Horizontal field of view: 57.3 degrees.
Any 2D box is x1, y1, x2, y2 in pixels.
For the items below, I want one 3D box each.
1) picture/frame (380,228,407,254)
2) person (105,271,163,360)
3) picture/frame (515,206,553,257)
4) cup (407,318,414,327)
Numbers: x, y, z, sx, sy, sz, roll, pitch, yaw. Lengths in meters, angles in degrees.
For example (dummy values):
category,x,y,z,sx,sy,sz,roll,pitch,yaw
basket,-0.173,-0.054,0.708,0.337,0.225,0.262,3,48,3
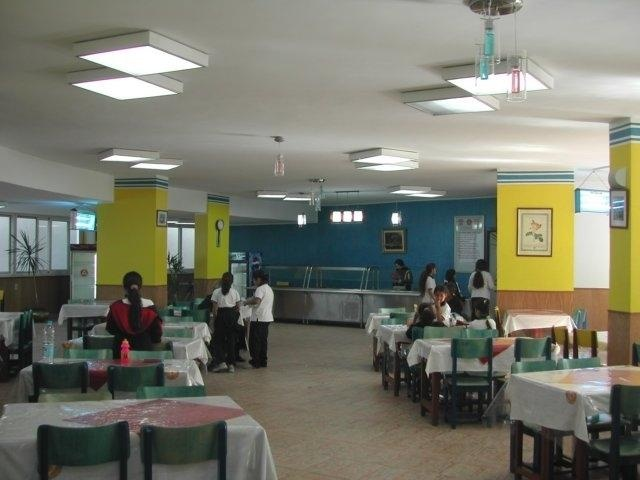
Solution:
category,x,y,z,sx,sy,sz,roll,pitch,yaw
picture/frame,2.157,0.046,16.945,0.716,0.672,0.056,-1,-2,27
person,-2.069,1.081,6.385,0.510,1.461,0.627,4,16,-21
picture/frame,3.903,-0.123,10.635,0.846,1.205,0.054,1,1,7
cup,1.230,1.149,8.068,0.044,0.114,0.095,19,-12,-37
